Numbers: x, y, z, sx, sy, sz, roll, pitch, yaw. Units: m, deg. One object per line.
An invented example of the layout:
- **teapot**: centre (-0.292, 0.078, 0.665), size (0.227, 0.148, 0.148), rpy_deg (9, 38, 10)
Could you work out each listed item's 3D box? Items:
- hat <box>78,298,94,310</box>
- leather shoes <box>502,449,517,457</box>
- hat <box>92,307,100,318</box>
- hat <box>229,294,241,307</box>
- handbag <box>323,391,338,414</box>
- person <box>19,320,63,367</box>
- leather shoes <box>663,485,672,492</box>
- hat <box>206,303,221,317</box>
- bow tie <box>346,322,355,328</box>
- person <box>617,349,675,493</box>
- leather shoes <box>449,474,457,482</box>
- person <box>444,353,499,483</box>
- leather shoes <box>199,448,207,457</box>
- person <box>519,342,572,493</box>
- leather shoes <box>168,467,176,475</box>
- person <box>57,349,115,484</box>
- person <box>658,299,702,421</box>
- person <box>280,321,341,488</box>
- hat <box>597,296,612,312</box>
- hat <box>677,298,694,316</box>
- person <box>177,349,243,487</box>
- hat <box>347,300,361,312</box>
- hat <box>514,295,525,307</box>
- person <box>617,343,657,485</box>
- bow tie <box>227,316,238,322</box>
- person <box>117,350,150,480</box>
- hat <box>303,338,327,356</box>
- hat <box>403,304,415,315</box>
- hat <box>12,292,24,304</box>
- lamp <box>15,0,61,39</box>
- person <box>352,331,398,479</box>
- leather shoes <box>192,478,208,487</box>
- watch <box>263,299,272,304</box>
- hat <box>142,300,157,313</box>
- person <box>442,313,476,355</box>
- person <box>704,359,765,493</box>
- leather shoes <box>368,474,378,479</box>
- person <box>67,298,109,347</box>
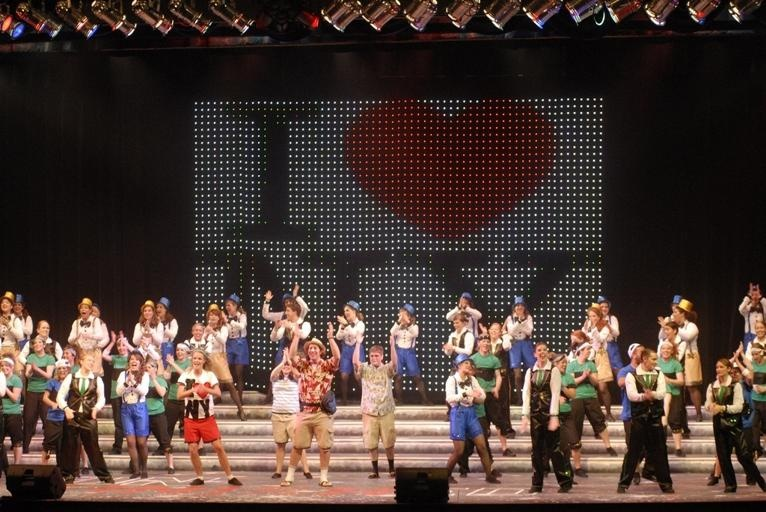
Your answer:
- **hat**: centre (-5.241, 0.846, 15.034), size (0.207, 0.127, 0.243), rpy_deg (-1, -26, -1)
- **leather shoes**: centre (2.007, 3.182, 13.629), size (0.191, 0.107, 0.108), rpy_deg (-1, -1, 0)
- **hat**: centre (-5.089, 1.023, 15.074), size (0.147, 0.174, 0.171), rpy_deg (7, -3, -4)
- **hat**: centre (-2.688, 0.808, 15.363), size (0.187, 0.186, 0.131), rpy_deg (11, 22, 11)
- **handbag**: centre (-0.799, 2.231, 12.791), size (0.139, 0.366, 0.294), rpy_deg (1, -2, 18)
- **person**: centre (-5.721, 1.503, 14.329), size (0.775, 0.778, 0.527), rpy_deg (1, -5, -28)
- **leather shoes**: centre (4.045, 3.367, 12.176), size (0.154, 0.084, 0.062), rpy_deg (1, -2, 19)
- **hat**: centre (-2.996, 0.984, 14.941), size (0.187, 0.250, 0.246), rpy_deg (3, 39, -1)
- **bow tie**: centre (-0.567, 1.237, 14.935), size (0.158, 0.079, 0.105), rpy_deg (1, -2, 17)
- **person**: centre (3.789, 2.395, 12.260), size (0.788, 2.039, 0.378), rpy_deg (2, -2, 10)
- **leather shoes**: centre (1.033, 3.372, 12.743), size (0.086, 0.171, 0.240), rpy_deg (0, -14, -4)
- **person**: centre (1.310, 2.485, 12.844), size (0.732, 1.892, 0.354), rpy_deg (2, -2, 4)
- **leather shoes**: centre (-3.004, 3.265, 14.038), size (0.133, 0.117, 0.212), rpy_deg (7, -2, -17)
- **person**: centre (2.407, 2.386, 12.488), size (0.724, 2.138, 0.510), rpy_deg (2, -2, 9)
- **leather shoes**: centre (-3.371, 3.455, 13.549), size (0.089, 0.095, 0.265), rpy_deg (1, -9, -5)
- **person**: centre (-4.540, 2.493, 12.960), size (0.801, 1.309, 0.457), rpy_deg (3, -2, -18)
- **person**: centre (5.007, 1.812, 14.313), size (0.692, 1.974, 0.667), rpy_deg (-5, -1, 8)
- **person**: centre (-1.111, 2.260, 12.966), size (0.771, 2.439, 0.813), rpy_deg (2, -2, -7)
- **hat**: centre (3.853, 0.856, 14.908), size (0.233, 0.217, 0.308), rpy_deg (30, 9, 30)
- **hat**: centre (5.097, 0.876, 14.384), size (0.276, 0.200, 0.238), rpy_deg (14, -3, 6)
- **person**: centre (-2.685, 2.467, 12.870), size (0.927, 2.009, 0.482), rpy_deg (2, -2, -3)
- **hat**: centre (-0.496, 0.890, 15.045), size (0.201, 0.144, 0.200), rpy_deg (35, -18, -13)
- **hat**: centre (2.412, 0.838, 15.140), size (0.170, 0.170, 0.167), rpy_deg (-23, 24, -24)
- **person**: centre (3.838, 2.427, 12.468), size (0.709, 2.089, 0.634), rpy_deg (2, 15, 11)
- **bow tie**: centre (-2.669, 1.136, 15.170), size (0.114, 0.026, 0.106), rpy_deg (-4, 42, -7)
- **person**: centre (-3.902, 2.490, 13.311), size (0.513, 1.947, 0.342), rpy_deg (2, -2, -8)
- **hat**: centre (-1.095, 1.461, 13.390), size (0.387, 0.415, 0.124), rpy_deg (5, 23, 10)
- **hat**: centre (0.457, 0.972, 15.254), size (0.149, 0.151, 0.214), rpy_deg (4, 8, 3)
- **hat**: centre (-6.572, 0.794, 15.352), size (0.224, 0.120, 0.232), rpy_deg (2, 13, -16)
- **lamp**: centre (-5.438, -3.745, 13.410), size (0.629, 0.401, 0.273), rpy_deg (32, -1, -13)
- **person**: centre (-0.142, 2.379, 13.236), size (0.659, 2.181, 0.495), rpy_deg (2, -2, -2)
- **leather shoes**: centre (-2.767, 3.426, 12.782), size (0.186, 0.077, 0.095), rpy_deg (4, 0, 1)
- **watch**: centre (-2.108, 0.854, 15.390), size (0.097, 0.085, 0.093), rpy_deg (-8, -8, 3)
- **hat**: centre (-4.087, 0.881, 14.828), size (0.228, 0.129, 0.234), rpy_deg (4, -16, -4)
- **person**: centre (1.299, 1.355, 14.474), size (0.526, 0.763, 0.665), rpy_deg (2, -2, 8)
- **person**: centre (5.101, 2.479, 12.365), size (0.790, 1.873, 0.523), rpy_deg (2, -2, 13)
- **leather shoes**: centre (-0.157, 3.439, 13.168), size (0.064, 0.046, 0.131), rpy_deg (-7, -13, 44)
- **person**: centre (-5.108, 1.202, 14.764), size (0.638, 0.579, 1.052), rpy_deg (3, -2, -16)
